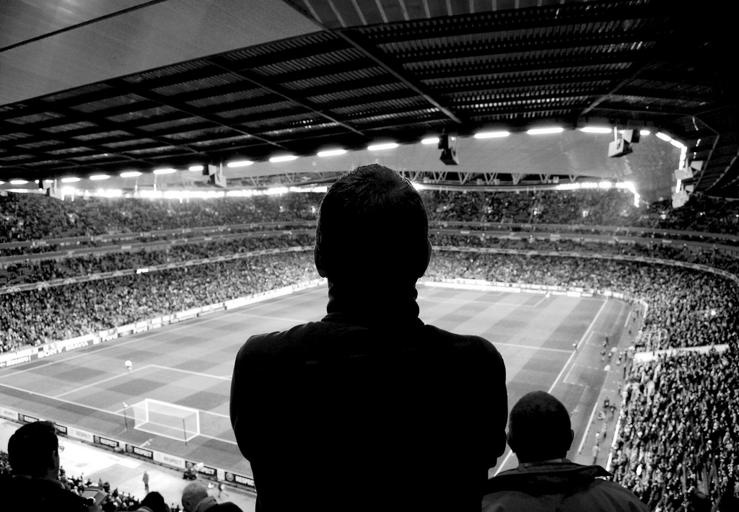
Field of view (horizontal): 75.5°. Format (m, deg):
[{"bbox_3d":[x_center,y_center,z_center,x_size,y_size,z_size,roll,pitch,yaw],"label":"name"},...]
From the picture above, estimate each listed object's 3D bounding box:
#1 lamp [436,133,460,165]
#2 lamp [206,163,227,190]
[{"bbox_3d":[1.427,-1.963,8.595,0.274,0.564,0.654,-2,10,23],"label":"lamp"},{"bbox_3d":[-3.609,-1.942,11.316,0.347,0.486,0.809,-3,6,-14],"label":"lamp"}]
